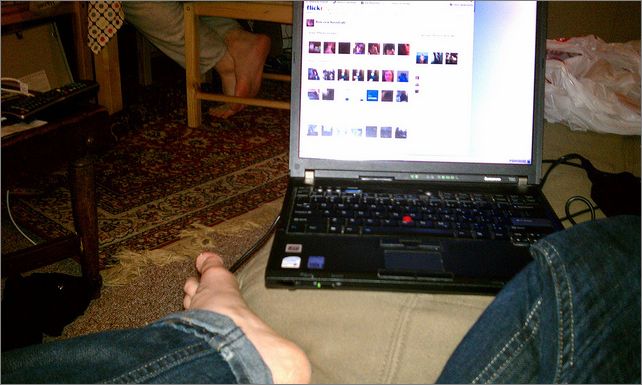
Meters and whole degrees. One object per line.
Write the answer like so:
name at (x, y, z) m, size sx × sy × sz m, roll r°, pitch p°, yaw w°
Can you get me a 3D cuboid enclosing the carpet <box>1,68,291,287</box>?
carpet at (-0.618, -0.081, 1.978) m, size 0.673 × 0.227 × 0.959 m, roll 29°, pitch 47°, yaw 30°
